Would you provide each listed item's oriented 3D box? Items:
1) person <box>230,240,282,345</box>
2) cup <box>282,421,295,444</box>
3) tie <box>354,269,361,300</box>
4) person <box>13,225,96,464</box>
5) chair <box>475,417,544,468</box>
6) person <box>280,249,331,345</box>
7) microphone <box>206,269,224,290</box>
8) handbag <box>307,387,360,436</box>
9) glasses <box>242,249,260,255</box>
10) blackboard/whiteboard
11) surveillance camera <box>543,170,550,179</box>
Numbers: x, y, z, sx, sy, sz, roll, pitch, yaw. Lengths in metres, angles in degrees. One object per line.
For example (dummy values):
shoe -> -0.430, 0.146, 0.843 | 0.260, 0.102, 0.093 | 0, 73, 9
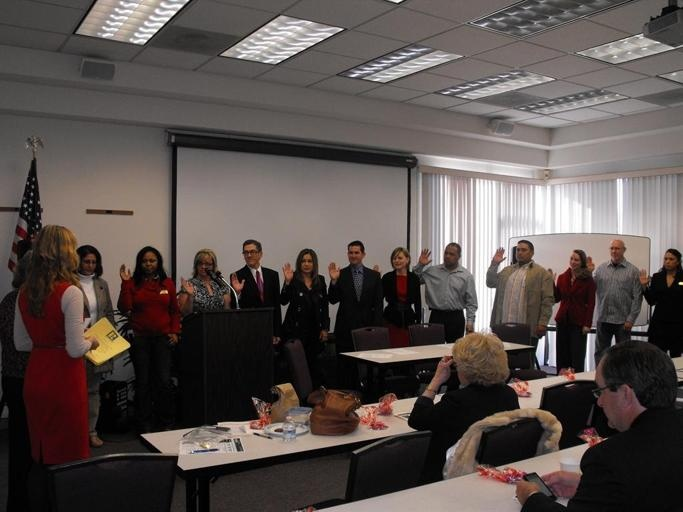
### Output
person -> -0.920, 0.416, 5.303 | 0.537, 1.178, 0.413 | -1, 1, -14
cup -> -0.284, 0.963, 2.581 | 0.055, 0.102, 0.061 | -2, -4, 0
tie -> 0.204, 0.335, 5.895 | 0.119, 0.281, 0.065 | 0, -13, -5
person -> -1.628, 0.512, 2.729 | 0.391, 1.369, 0.242 | -1, 1, -21
chair -> 0.757, 0.854, 2.186 | 0.287, 0.217, 0.210 | -6, 11, -28
person -> -0.415, 0.485, 5.526 | 0.532, 1.110, 0.329 | -1, 1, -5
microphone -> -1.315, 0.255, 5.012 | 0.053, 0.211, 0.063 | -38, -1, 1
handbag -> -0.034, 0.896, 2.693 | 0.304, 0.251, 0.178 | -6, -22, 35
glasses -> -0.977, -0.030, 5.330 | 0.184, 0.066, 0.117 | -1, 2, -14
blackboard/whiteboard -> 3.374, 0.370, 6.760 | 1.381, 0.945, 0.019 | 0, -3, 43
surveillance camera -> 4.085, -1.631, 9.591 | 0.125, 0.163, 0.134 | -1, 3, -4
